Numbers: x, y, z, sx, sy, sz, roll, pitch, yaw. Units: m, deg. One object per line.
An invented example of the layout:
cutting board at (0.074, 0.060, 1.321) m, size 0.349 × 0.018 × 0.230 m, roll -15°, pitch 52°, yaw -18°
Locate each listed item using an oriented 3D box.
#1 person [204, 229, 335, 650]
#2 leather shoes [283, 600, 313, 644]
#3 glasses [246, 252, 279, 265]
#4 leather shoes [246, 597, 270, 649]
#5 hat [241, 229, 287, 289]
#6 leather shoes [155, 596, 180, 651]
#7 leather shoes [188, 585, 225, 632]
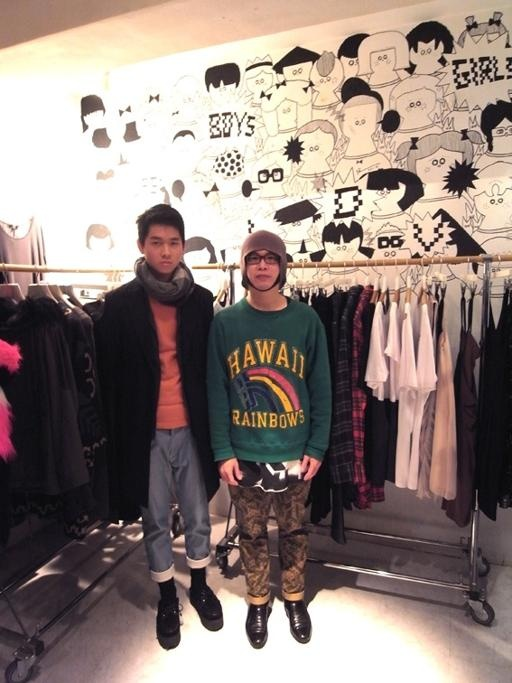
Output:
person at (0.058, 0.362, 1.857) m, size 0.464 × 1.531 × 0.274 m, roll -2°, pitch 8°, yaw -4°
leather shoes at (0.159, 1.060, 1.853) m, size 0.058 × 0.076 × 0.175 m, roll -5°, pitch 38°, yaw -7°
glasses at (0.024, -0.298, 1.751) m, size 0.118 × 0.045 × 0.038 m, roll -2°, pitch 8°, yaw -6°
leather shoes at (0.008, 1.065, 1.857) m, size 0.057 × 0.106 × 0.165 m, roll 1°, pitch 19°, yaw 1°
hat at (0.041, -0.289, 1.774) m, size 0.145 × 0.220 × 0.204 m, roll -1°, pitch -8°, yaw 6°
leather shoes at (-0.327, 1.069, 1.857) m, size 0.060 × 0.087 × 0.197 m, roll 0°, pitch 4°, yaw -5°
leather shoes at (-0.199, 1.057, 1.936) m, size 0.074 × 0.094 × 0.208 m, roll -4°, pitch 14°, yaw -24°
